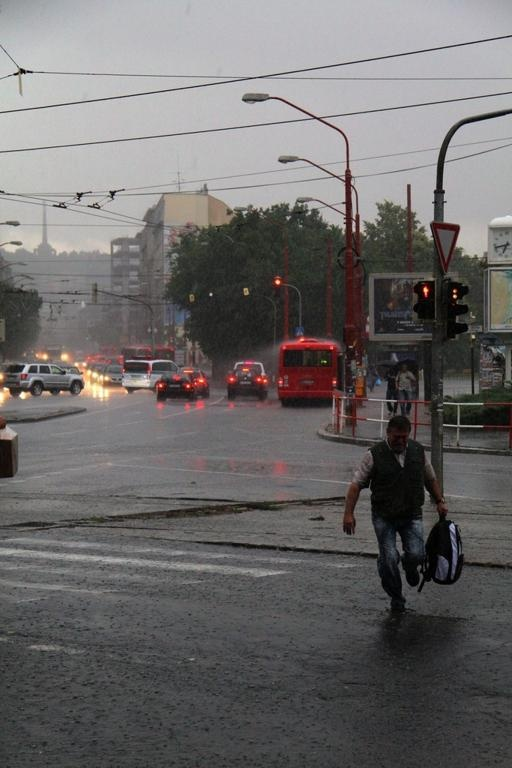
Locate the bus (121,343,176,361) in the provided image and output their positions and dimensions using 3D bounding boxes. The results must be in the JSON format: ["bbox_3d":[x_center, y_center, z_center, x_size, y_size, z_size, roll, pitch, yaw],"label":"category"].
[{"bbox_3d":[-8.138,-2.363,93.204,2.914,1.601,3.150,1,1,7],"label":"bus"}]

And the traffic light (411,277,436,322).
[{"bbox_3d":[1.825,-0.895,13.105,0.337,0.443,0.146,1,1,43],"label":"traffic light"}]

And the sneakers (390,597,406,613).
[{"bbox_3d":[0.894,1.387,7.510,0.088,0.133,0.066,-2,-2,-29],"label":"sneakers"}]

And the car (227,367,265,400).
[{"bbox_3d":[-0.300,-0.016,48.060,0.873,0.916,1.736,1,6,4],"label":"car"}]

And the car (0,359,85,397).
[{"bbox_3d":[-9.234,-0.171,52.523,1.481,1.404,4.411,0,1,23],"label":"car"}]

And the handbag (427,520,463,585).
[{"bbox_3d":[1.180,1.065,7.606,0.256,0.408,0.215,0,1,22],"label":"handbag"}]

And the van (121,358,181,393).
[{"bbox_3d":[-4.862,-0.473,55.951,1.394,1.454,2.494,3,8,37],"label":"van"}]

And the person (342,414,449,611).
[{"bbox_3d":[0.941,0.811,7.768,0.546,1.208,0.698,1,1,38],"label":"person"}]

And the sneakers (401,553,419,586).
[{"bbox_3d":[1.020,1.232,7.889,0.079,0.306,0.124,-3,33,7],"label":"sneakers"}]
